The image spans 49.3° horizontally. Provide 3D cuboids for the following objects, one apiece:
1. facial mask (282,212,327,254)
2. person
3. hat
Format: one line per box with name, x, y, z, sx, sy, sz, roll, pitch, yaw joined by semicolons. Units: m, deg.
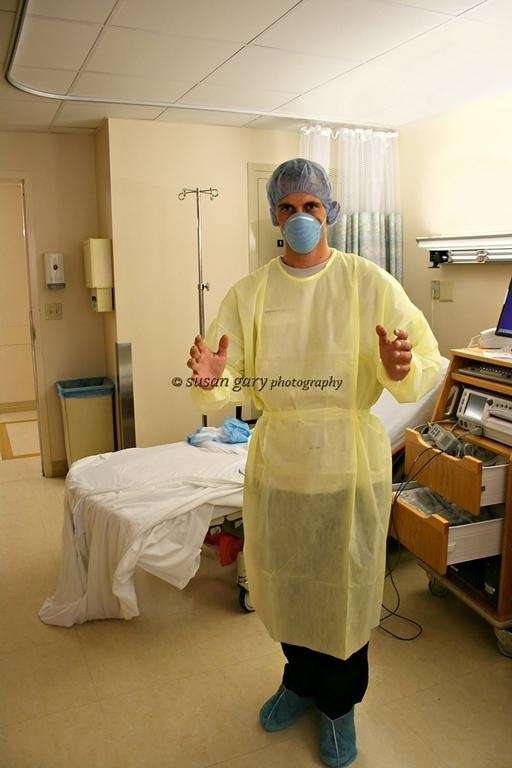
facial mask;0.104;-0.341;1.248;0.071;0.083;0.088;2;15;8
person;0.127;0.076;1.296;0.568;1.175;0.394;2;7;19
hat;0.109;-0.431;1.346;0.143;0.169;0.122;-2;8;0
